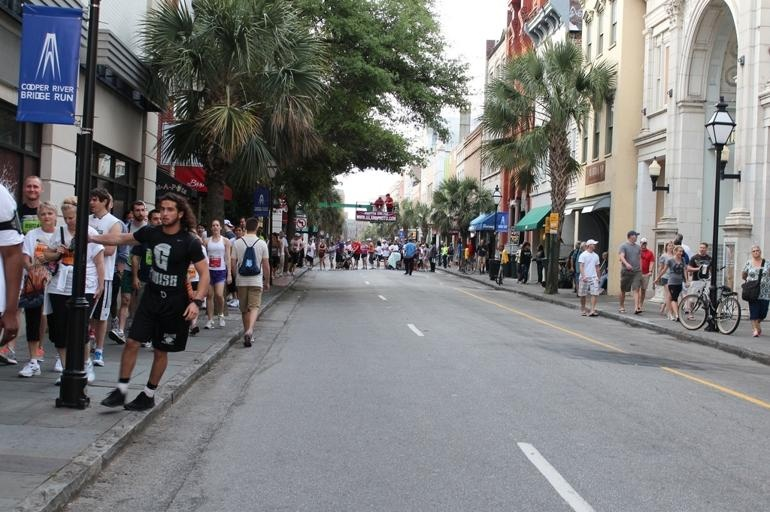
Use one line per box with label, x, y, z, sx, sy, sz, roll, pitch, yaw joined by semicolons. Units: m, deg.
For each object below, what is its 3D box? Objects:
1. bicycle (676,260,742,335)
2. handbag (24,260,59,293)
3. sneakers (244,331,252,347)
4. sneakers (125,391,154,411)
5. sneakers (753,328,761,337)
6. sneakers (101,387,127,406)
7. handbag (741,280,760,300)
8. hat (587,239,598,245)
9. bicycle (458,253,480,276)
bicycle;8.845;1.205;17.202;2.260;1.654;1.283;6;4;-25
handbag;-4.917;0.313;8.956;0.239;0.458;0.926;2;-1;-42
sneakers;-2.850;1.764;13.097;0.115;0.167;0.369;-2;-18;-5
sneakers;-3.021;1.784;7.785;0.149;0.174;0.364;-3;-7;32
sneakers;9.323;1.886;15.799;0.120;0.196;0.409;-3;-11;20
sneakers;-3.292;1.748;7.808;0.133;0.205;0.395;-1;-8;16
handbag;9.097;0.848;15.676;0.236;0.637;0.434;16;-14;-39
hat;7.724;-0.488;23.501;0.599;0.261;0.432;-1;2;13
bicycle;6.098;0.664;45.631;1.910;1.373;1.014;1;4;12
